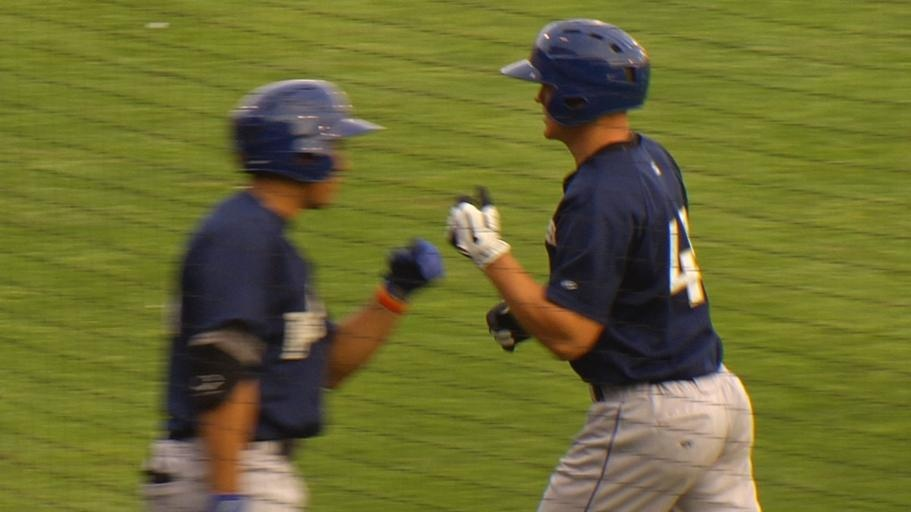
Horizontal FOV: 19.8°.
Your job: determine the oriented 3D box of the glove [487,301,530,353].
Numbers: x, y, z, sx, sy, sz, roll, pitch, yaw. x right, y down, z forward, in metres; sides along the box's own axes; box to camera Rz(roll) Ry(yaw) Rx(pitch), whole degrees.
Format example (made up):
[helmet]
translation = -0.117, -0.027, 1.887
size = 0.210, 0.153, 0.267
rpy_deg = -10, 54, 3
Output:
[glove]
translation = 0.385, 0.539, 19.573
size = 0.479, 0.141, 0.307
rpy_deg = 26, 17, -19
